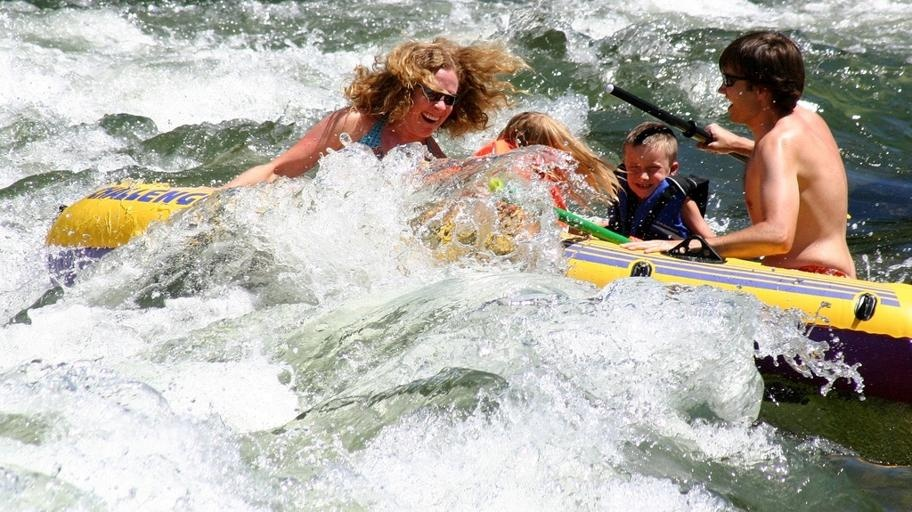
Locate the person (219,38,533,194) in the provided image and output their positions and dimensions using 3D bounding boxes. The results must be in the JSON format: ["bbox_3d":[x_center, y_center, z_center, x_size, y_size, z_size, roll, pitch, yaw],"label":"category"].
[{"bbox_3d":[-0.754,-1.318,9.334,2.420,1.518,0.662,-23,51,2],"label":"person"}]

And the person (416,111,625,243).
[{"bbox_3d":[0.717,-0.872,8.459,1.341,1.267,0.509,36,61,5],"label":"person"}]
